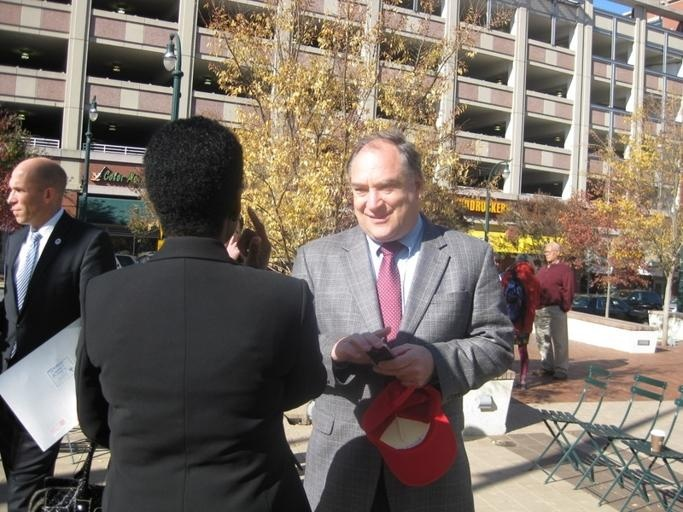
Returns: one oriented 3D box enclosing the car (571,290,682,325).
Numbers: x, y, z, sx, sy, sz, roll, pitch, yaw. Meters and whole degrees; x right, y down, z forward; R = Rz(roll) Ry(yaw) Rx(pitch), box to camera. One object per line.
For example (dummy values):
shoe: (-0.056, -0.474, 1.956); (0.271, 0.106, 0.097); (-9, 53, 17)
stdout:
car: (10.063, 1.843, 23.130); (2.612, 1.032, 1.239); (-4, 3, -20)

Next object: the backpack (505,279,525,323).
backpack: (2.564, 0.672, 9.658); (0.194, 0.631, 0.416); (3, 6, -7)

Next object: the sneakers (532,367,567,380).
sneakers: (3.715, 2.158, 11.862); (0.181, 0.237, 0.565); (3, -17, -16)

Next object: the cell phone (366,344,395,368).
cell phone: (0.170, 0.475, 3.057); (0.087, 0.099, 0.022); (-13, 31, 27)
